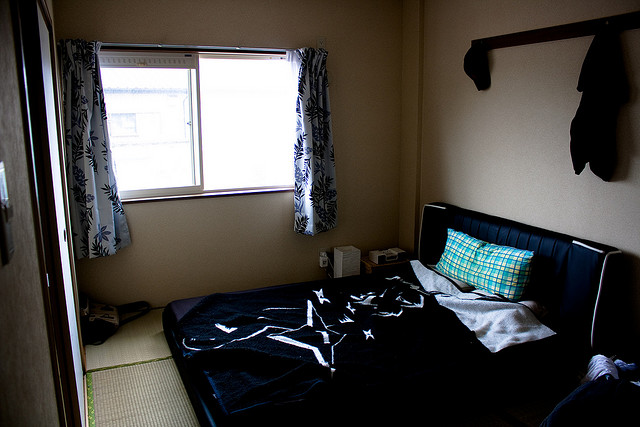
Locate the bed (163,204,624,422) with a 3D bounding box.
[{"bbox_3d":[0.613,0.790,3.712,3.033,1.146,1.596,-4,14,-12],"label":"bed"}]
